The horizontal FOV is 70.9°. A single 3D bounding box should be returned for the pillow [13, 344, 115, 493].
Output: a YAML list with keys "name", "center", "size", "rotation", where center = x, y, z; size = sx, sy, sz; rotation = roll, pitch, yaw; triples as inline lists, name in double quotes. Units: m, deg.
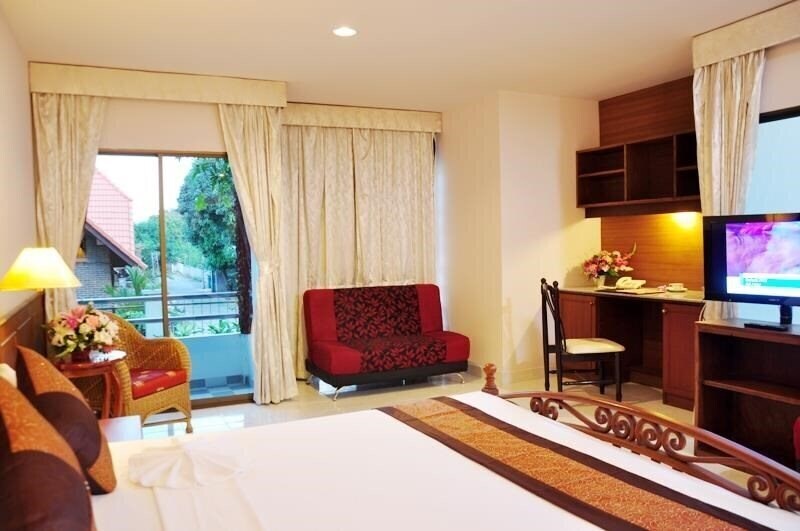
- name: "pillow"
  center: [-1.702, 0.754, 2.854]
  size: [0.227, 0.219, 0.731]
  rotation: [-17, 43, -43]

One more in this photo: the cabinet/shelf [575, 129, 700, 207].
- name: "cabinet/shelf"
  center: [2.549, -0.995, 6.034]
  size: [0.459, 0.826, 1.384]
  rotation: [-11, 16, -30]

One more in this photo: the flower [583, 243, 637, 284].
- name: "flower"
  center: [2.367, -0.037, 6.337]
  size: [0.512, 0.339, 0.407]
  rotation: [-9, 2, 0]

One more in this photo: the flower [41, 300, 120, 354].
- name: "flower"
  center: [-2.466, 0.491, 4.372]
  size: [0.437, 0.297, 0.432]
  rotation: [-4, 5, -42]

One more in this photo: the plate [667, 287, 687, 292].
- name: "plate"
  center: [2.863, 0.238, 5.759]
  size: [0.212, 0.040, 0.085]
  rotation: [-4, 13, -7]

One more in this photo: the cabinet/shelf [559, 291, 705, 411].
- name: "cabinet/shelf"
  center: [2.535, 0.694, 5.775]
  size: [0.968, 1.102, 1.847]
  rotation: [3, -4, -18]
